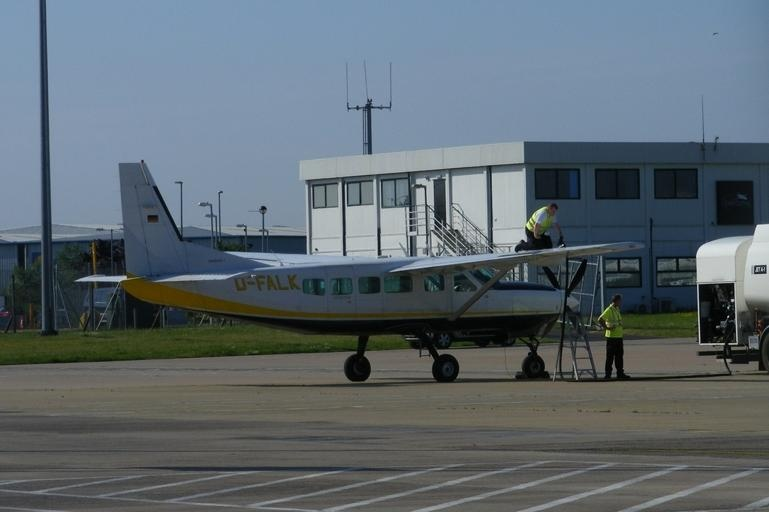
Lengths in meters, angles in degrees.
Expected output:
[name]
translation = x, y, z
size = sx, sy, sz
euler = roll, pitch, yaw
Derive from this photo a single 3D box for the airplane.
[airplane]
translation = -1.546, 0.929, 59.755
size = 13.983, 6.828, 2.319
euler = -2, 8, -2
